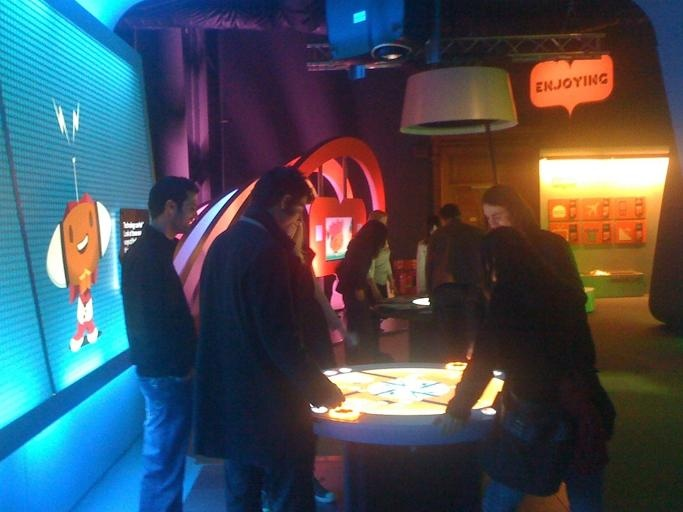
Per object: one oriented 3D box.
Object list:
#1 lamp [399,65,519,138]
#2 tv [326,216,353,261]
[{"bbox_3d":[0.843,-1.158,4.303,0.820,0.504,0.612,0,6,16],"label":"lamp"},{"bbox_3d":[-0.046,-0.312,8.108,0.016,0.449,0.637,-1,1,-37],"label":"tv"}]
